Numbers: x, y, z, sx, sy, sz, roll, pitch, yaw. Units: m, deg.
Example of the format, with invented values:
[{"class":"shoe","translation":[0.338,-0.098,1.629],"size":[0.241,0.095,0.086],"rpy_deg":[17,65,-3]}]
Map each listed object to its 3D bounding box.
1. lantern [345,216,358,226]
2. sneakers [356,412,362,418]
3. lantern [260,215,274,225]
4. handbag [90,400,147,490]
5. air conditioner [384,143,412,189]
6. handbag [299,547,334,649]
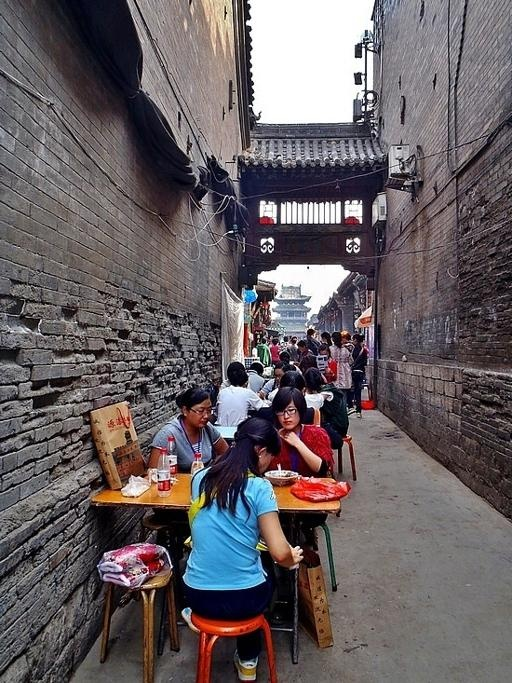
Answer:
[{"class":"lantern","translation":[2.429,-3.107,10.535],"size":[0.216,0.164,0.230],"rpy_deg":[0,4,11]},{"class":"sneakers","translation":[2.401,1.679,9.612],"size":[0.079,0.133,0.128],"rpy_deg":[-1,-10,-4]},{"class":"lantern","translation":[0.274,-3.156,10.682],"size":[0.266,0.208,0.201],"rpy_deg":[0,0,-2]},{"class":"handbag","translation":[-0.823,0.612,2.427],"size":[0.092,0.450,0.471],"rpy_deg":[-13,10,12]},{"class":"air conditioner","translation":[2.669,-3.311,7.714],"size":[0.242,0.746,0.763],"rpy_deg":[3,21,22]},{"class":"handbag","translation":[0.298,1.375,2.223],"size":[0.093,0.355,0.357],"rpy_deg":[1,-21,-10]}]
